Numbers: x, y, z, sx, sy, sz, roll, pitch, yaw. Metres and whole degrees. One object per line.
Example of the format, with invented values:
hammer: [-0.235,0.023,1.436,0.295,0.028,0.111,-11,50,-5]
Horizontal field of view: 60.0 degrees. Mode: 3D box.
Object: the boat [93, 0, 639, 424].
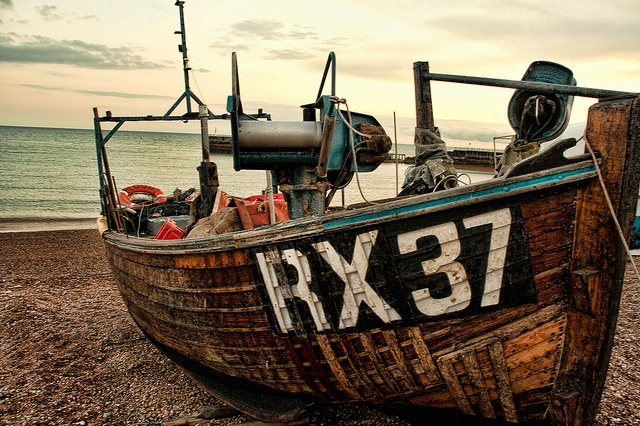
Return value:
boat: [0.428,0.266,6.111,4.749,4.135,2.363,7,17,35]
